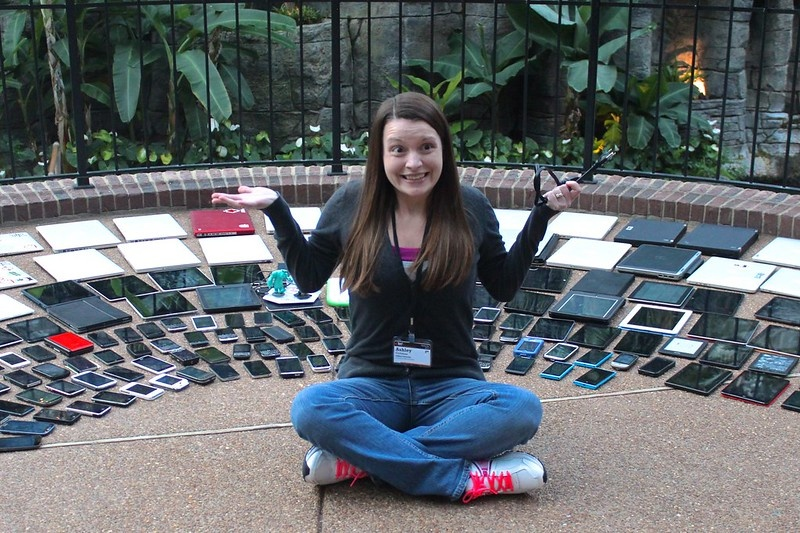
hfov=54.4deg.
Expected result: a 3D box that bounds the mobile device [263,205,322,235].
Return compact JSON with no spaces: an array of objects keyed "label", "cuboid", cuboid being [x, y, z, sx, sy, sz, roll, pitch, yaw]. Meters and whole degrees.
[{"label":"mobile device","cuboid":[-0.602,-0.258,4.405,0.303,0.060,0.263,-1,22,-2]}]

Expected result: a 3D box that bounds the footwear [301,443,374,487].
[{"label":"footwear","cuboid":[-0.231,0.869,3.379,0.346,0.109,0.139,1,19,-30]}]

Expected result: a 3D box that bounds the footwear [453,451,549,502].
[{"label":"footwear","cuboid":[0.389,0.886,3.326,0.464,0.134,0.189,-8,9,8]}]
